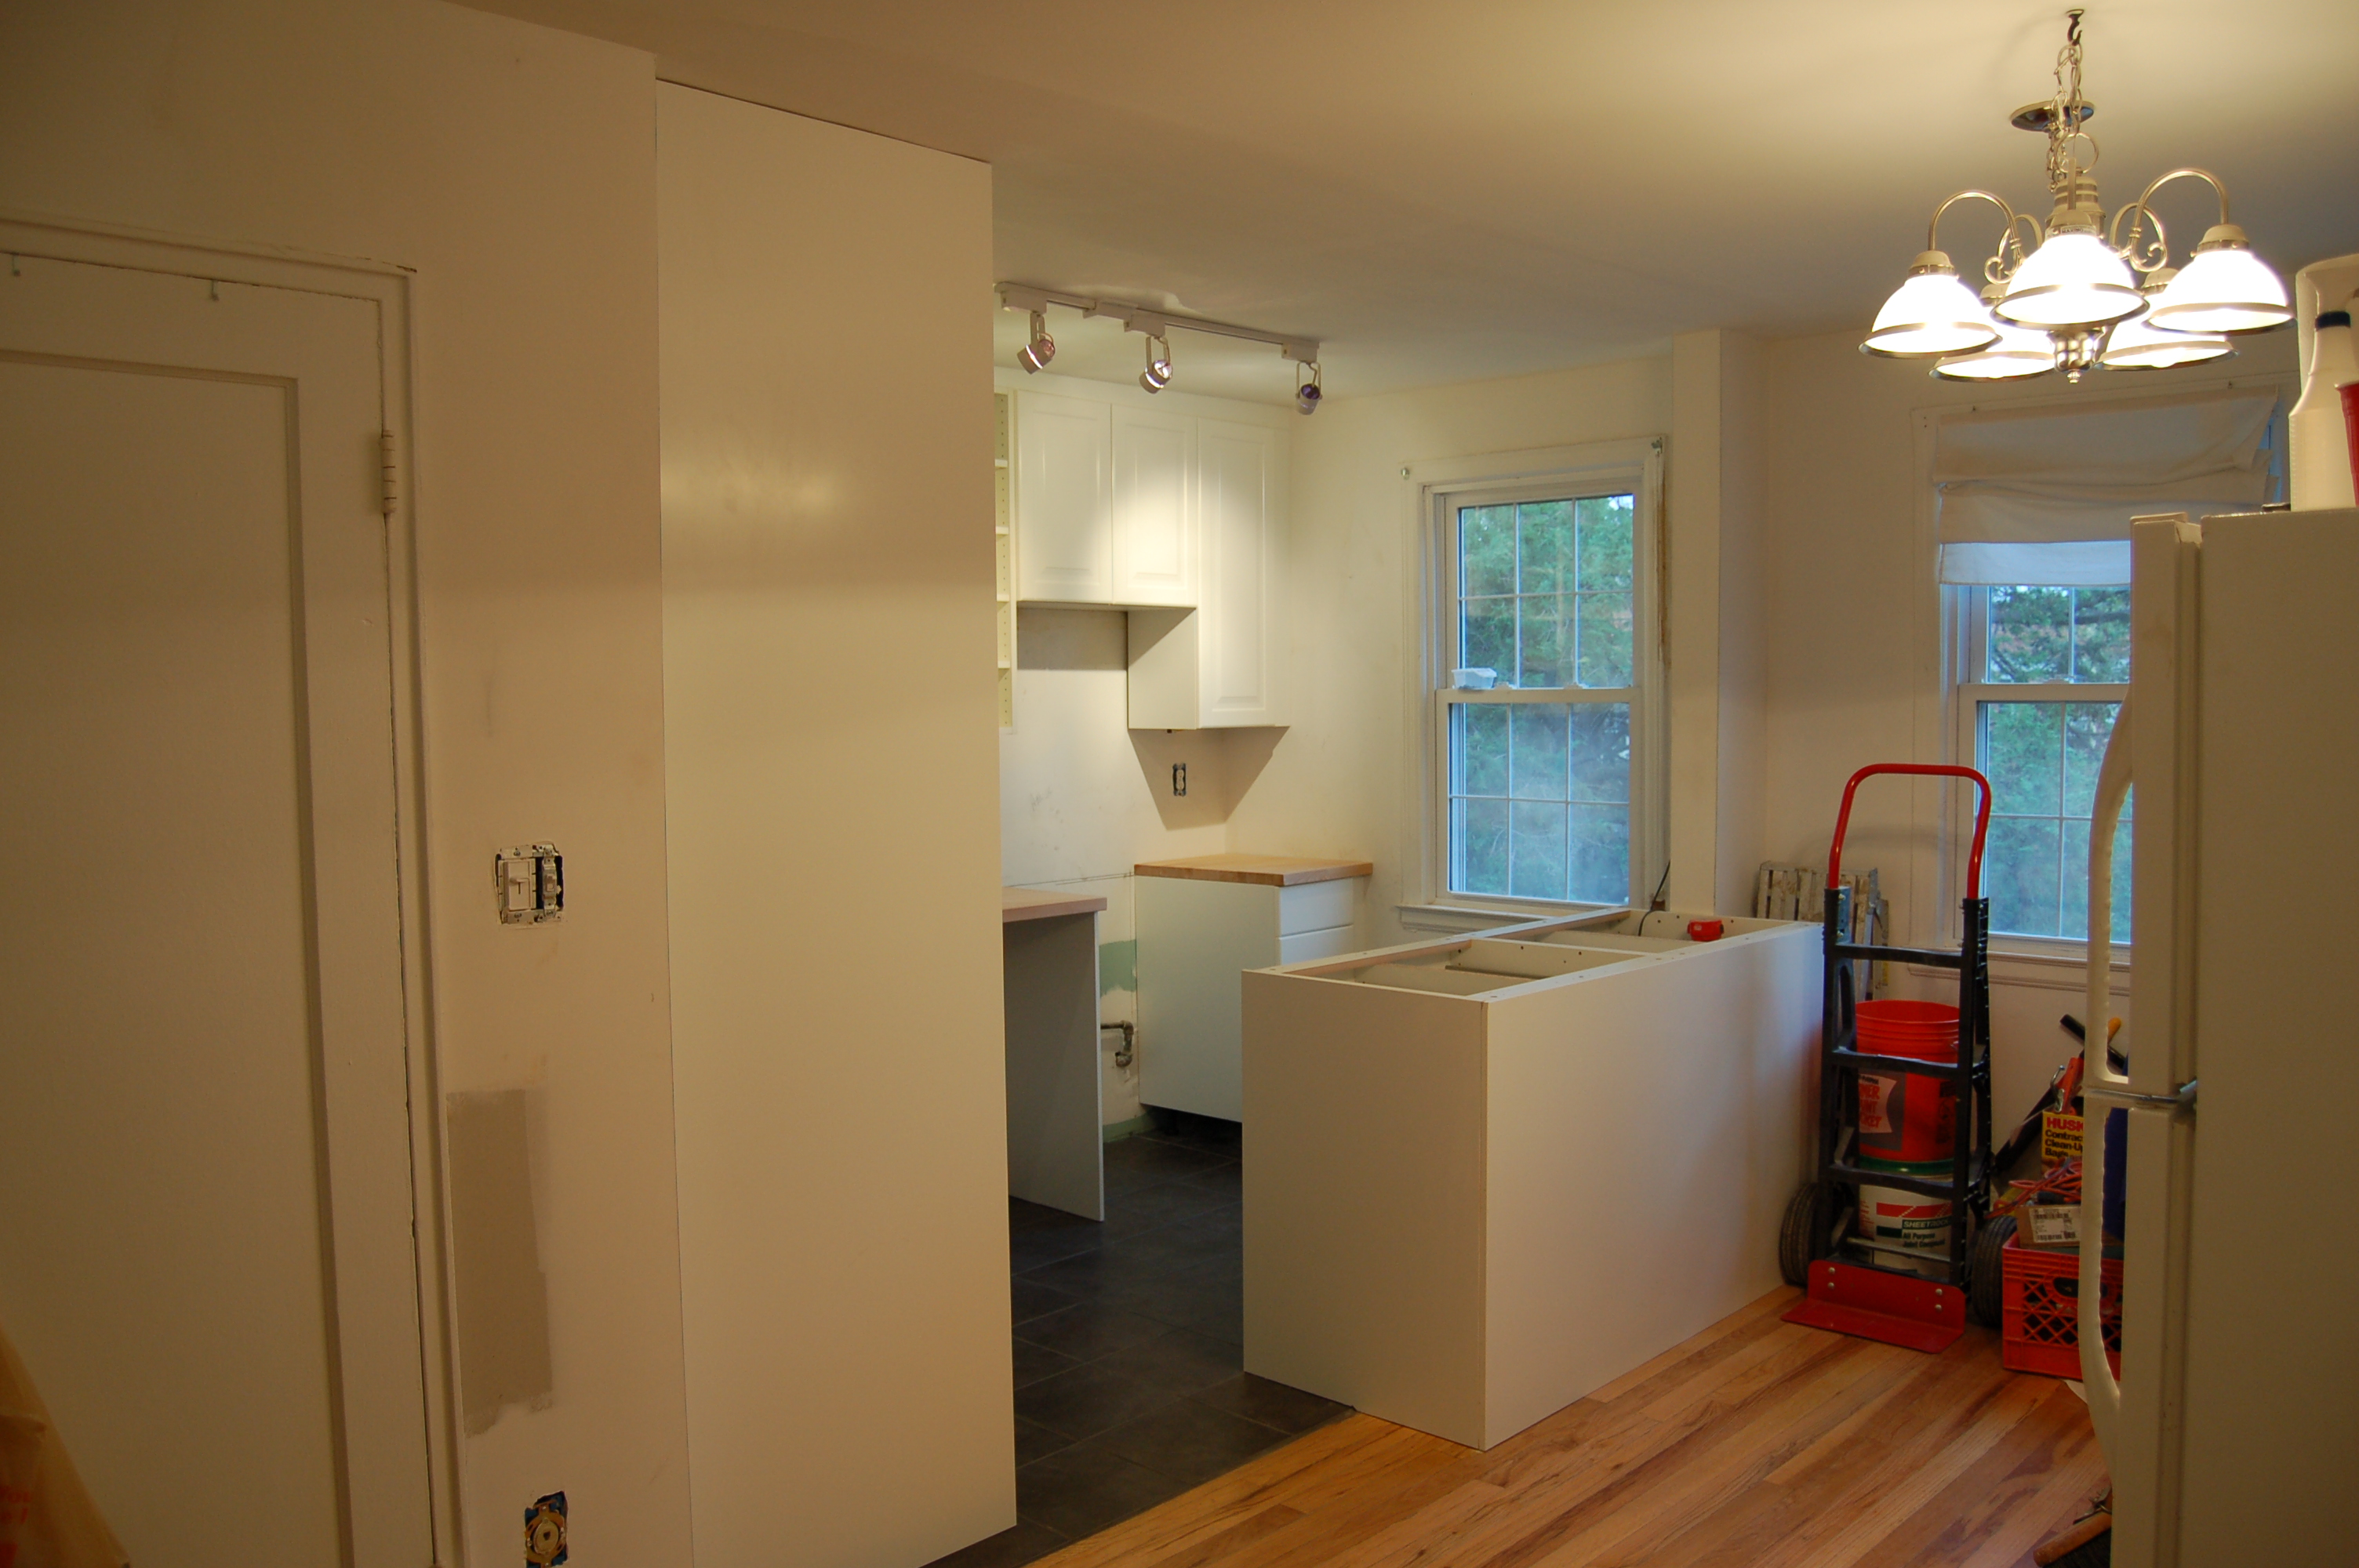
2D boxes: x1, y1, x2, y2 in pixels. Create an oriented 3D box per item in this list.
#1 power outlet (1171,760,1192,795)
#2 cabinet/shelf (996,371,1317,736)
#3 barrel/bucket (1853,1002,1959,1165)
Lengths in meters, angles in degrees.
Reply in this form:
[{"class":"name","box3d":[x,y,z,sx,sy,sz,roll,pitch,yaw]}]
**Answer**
[{"class":"power outlet","box3d":[-0.003,-0.022,7.109,0.024,0.189,0.147,-4,-4,41]},{"class":"cabinet/shelf","box3d":[-0.258,-0.792,6.662,0.439,1.257,1.571,5,8,37]},{"class":"barrel/bucket","box3d":[2.168,0.900,5.180,0.281,0.473,0.352,3,11,19]}]
